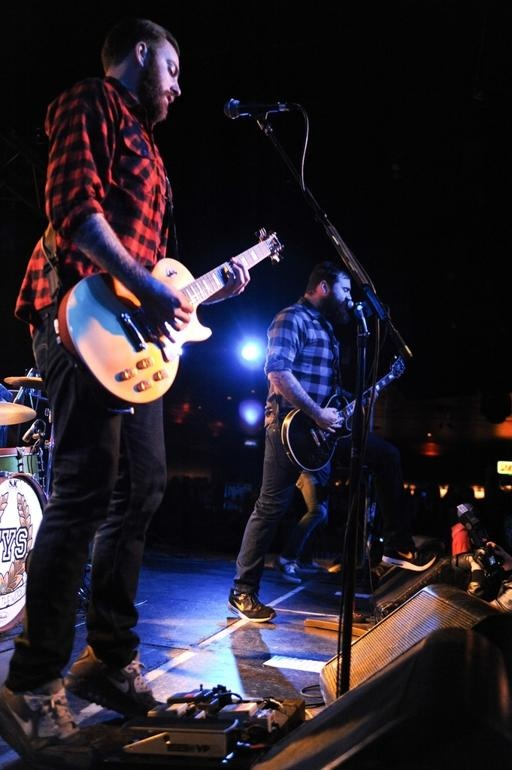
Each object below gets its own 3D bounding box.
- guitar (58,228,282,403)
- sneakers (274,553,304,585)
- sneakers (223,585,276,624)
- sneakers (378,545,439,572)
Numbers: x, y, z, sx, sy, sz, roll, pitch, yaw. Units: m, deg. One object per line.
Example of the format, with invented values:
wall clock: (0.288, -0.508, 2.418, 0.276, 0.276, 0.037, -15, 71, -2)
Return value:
guitar: (-0.198, -0.213, 1.906, 0.269, 0.599, 0.637, 30, -12, -31)
sneakers: (0.242, 1.369, 4.879, 0.162, 0.114, 0.347, -8, 2, -14)
sneakers: (-0.022, 1.138, 3.356, 0.284, 0.129, 0.110, 4, -9, 31)
sneakers: (0.806, 0.931, 3.431, 0.308, 0.115, 0.109, 1, -11, -5)
